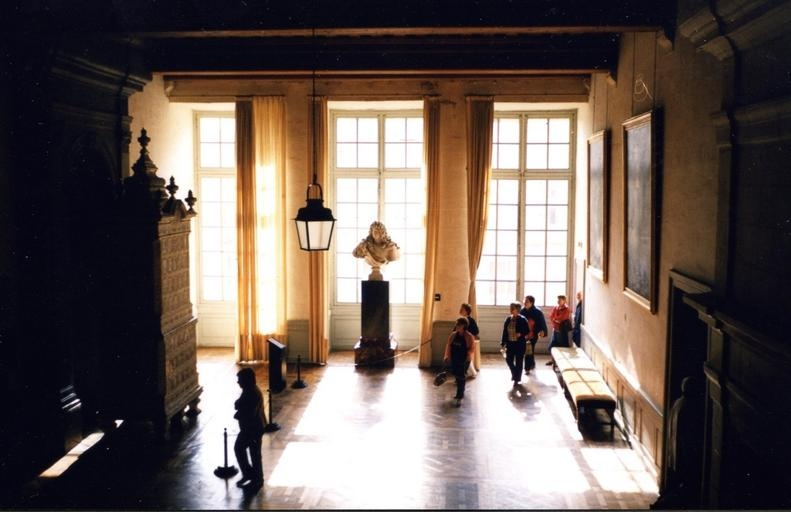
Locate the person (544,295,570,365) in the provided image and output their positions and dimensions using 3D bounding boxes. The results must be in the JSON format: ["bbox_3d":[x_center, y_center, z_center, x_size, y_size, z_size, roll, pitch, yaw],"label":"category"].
[{"bbox_3d":[2.916,1.341,11.022,0.329,1.250,0.466,5,-5,-38],"label":"person"}]

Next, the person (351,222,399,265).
[{"bbox_3d":[-0.338,-0.212,11.281,0.836,0.786,0.315,0,13,0],"label":"person"}]

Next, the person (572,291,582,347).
[{"bbox_3d":[3.259,1.146,11.036,0.166,0.970,0.383,4,14,17],"label":"person"}]

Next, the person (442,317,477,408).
[{"bbox_3d":[1.012,1.602,9.797,0.388,1.294,0.709,4,14,20],"label":"person"}]

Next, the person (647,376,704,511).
[{"bbox_3d":[3.262,2.081,6.987,0.448,1.560,0.778,7,15,28],"label":"person"}]

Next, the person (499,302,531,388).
[{"bbox_3d":[2.011,1.428,10.318,0.433,1.413,0.503,9,16,35],"label":"person"}]

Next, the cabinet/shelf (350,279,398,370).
[{"bbox_3d":[-0.330,1.226,11.424,0.811,1.455,0.801,2,7,12],"label":"cabinet/shelf"}]

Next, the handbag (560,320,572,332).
[{"bbox_3d":[2.988,1.228,10.882,0.189,0.246,0.081,4,24,6],"label":"handbag"}]

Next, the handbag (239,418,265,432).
[{"bbox_3d":[-1.754,2.093,7.607,0.294,0.169,0.082,-4,14,-15],"label":"handbag"}]

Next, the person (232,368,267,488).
[{"bbox_3d":[-1.786,2.107,7.610,0.398,1.427,0.568,-4,14,-16],"label":"person"}]
